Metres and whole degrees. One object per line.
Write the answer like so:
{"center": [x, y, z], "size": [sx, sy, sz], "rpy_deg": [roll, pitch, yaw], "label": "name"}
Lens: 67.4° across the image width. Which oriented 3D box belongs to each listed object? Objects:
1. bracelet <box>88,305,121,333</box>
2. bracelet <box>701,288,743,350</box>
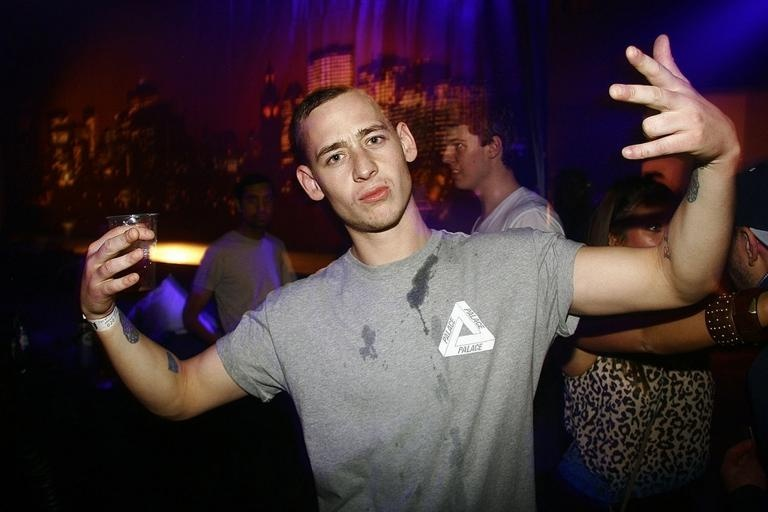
{"center": [-2.123, 0.498, 4.415], "size": [0.202, 0.139, 0.202], "rpy_deg": [-6, 11, 3], "label": "bracelet"}
{"center": [2.576, 0.486, 4.392], "size": [0.344, 0.236, 0.307], "rpy_deg": [-33, 11, 49], "label": "bracelet"}
